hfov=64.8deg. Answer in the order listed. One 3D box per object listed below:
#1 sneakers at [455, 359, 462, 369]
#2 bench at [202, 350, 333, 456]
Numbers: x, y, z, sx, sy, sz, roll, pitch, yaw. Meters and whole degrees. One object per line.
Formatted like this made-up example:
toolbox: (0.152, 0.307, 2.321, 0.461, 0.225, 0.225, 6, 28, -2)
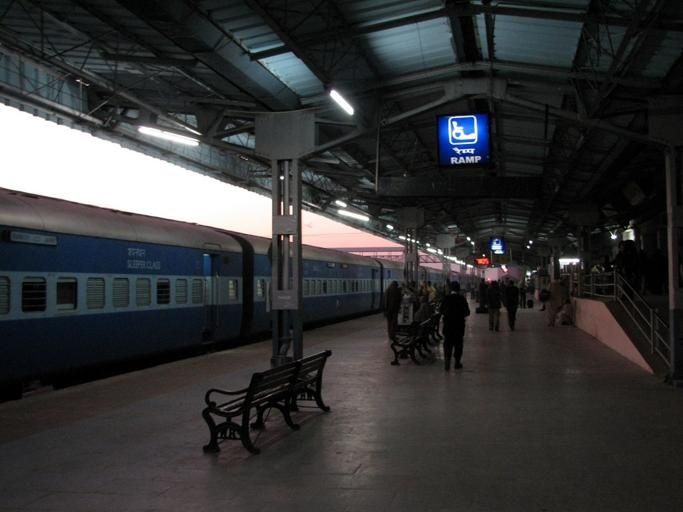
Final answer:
sneakers: (2.703, 2.513, 12.531, 0.092, 0.179, 0.276, 2, 5, 25)
bench: (-1.043, 2.027, 7.982, 0.867, 0.953, 2.947, -1, -2, 25)
